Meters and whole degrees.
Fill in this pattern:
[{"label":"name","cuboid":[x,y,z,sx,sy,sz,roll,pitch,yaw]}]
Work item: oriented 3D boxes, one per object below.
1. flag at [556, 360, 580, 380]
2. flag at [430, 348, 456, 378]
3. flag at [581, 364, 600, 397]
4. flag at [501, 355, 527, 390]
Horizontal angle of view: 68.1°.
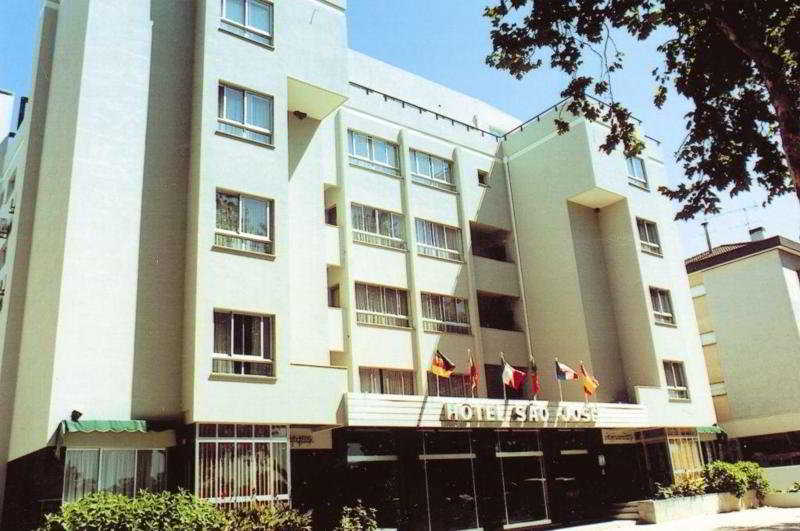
[{"label":"flag","cuboid":[8.386,5.296,29.646,1.358,1.490,0.250,0,-7,-11]},{"label":"flag","cuboid":[1.935,4.621,27.702,1.514,2.053,0.214,8,-22,-17]},{"label":"flag","cuboid":[9.432,5.691,29.732,0.710,1.704,2.452,-9,-21,16]},{"label":"flag","cuboid":[4.879,4.913,27.116,0.913,2.315,0.205,-19,-56,-4]}]
